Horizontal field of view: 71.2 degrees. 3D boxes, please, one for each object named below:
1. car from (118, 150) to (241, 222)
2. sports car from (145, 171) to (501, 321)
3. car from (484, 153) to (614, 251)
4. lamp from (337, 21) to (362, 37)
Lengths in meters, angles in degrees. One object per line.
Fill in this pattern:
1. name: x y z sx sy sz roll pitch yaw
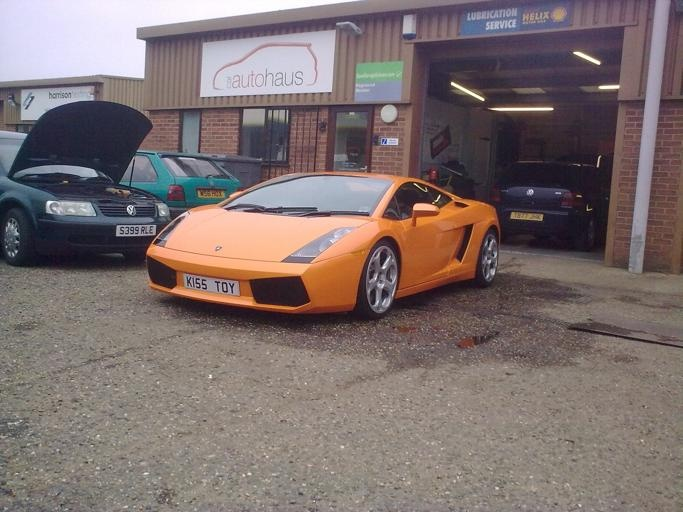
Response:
1. car: -2.937 -1.312 8.854 1.979 0.938 1.173 9 13 30
2. sports car: 0.128 -0.160 5.280 1.890 0.947 3.028 4 5 35
3. car: 5.605 -1.298 12.244 3.021 2.237 1.527 -4 12 -23
4. lamp: 0.237 -6.122 12.669 0.467 0.379 0.742 8 13 30
